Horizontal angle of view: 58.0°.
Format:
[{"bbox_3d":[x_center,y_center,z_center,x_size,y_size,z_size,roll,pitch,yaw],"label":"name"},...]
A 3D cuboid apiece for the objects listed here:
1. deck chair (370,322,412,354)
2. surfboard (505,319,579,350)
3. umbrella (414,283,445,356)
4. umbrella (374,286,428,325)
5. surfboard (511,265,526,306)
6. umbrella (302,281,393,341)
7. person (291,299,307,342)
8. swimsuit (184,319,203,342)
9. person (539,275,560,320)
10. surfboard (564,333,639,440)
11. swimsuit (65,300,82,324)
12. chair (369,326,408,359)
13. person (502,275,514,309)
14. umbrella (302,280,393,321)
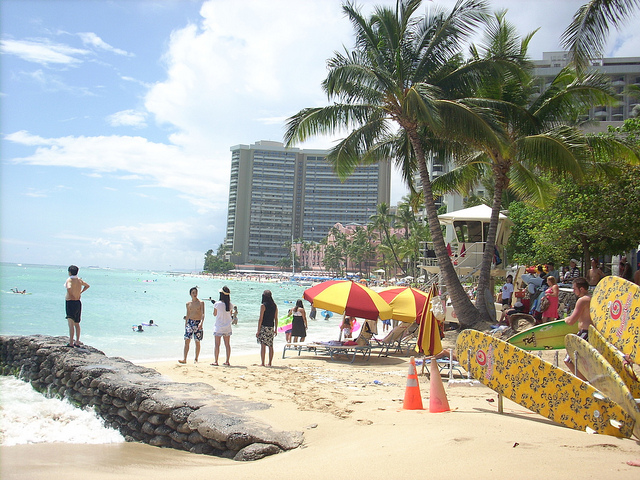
[{"bbox_3d":[2.040,3.038,18.266,0.572,0.851,1.656,6,-2,-30],"label":"deck chair"},{"bbox_3d":[4.287,1.860,10.994,0.271,0.499,1.997,0,-14,-8],"label":"surfboard"},{"bbox_3d":[2.630,1.910,13.872,0.628,1.697,1.179,-1,-4,8],"label":"umbrella"},{"bbox_3d":[2.410,1.788,16.574,1.118,0.469,1.157,14,10,-4],"label":"umbrella"},{"bbox_3d":[7.120,1.553,20.715,0.386,1.320,3.978,-2,-4,19],"label":"surfboard"},{"bbox_3d":[0.775,1.990,15.884,1.463,1.037,1.412,20,-4,20],"label":"umbrella"},{"bbox_3d":[-0.607,2.497,17.362,0.483,1.481,0.490,4,8,28],"label":"person"},{"bbox_3d":[-3.185,2.286,14.739,0.363,0.557,0.450,-2,-4,19],"label":"swimsuit"},{"bbox_3d":[5.616,1.415,14.157,0.423,1.069,0.595,0,-4,-9],"label":"person"},{"bbox_3d":[4.093,2.090,8.422,0.499,1.376,1.197,1,-4,-14],"label":"surfboard"},{"bbox_3d":[-5.870,1.698,13.793,0.327,0.558,0.481,2,-5,-27],"label":"swimsuit"},{"bbox_3d":[2.105,3.188,18.225,0.797,1.038,1.432,0,-5,-29],"label":"chair"},{"bbox_3d":[5.717,1.560,17.663,0.294,0.996,0.750,-2,-4,16],"label":"person"},{"bbox_3d":[0.841,1.572,16.327,2.248,0.913,2.265,10,-2,0],"label":"umbrella"}]
